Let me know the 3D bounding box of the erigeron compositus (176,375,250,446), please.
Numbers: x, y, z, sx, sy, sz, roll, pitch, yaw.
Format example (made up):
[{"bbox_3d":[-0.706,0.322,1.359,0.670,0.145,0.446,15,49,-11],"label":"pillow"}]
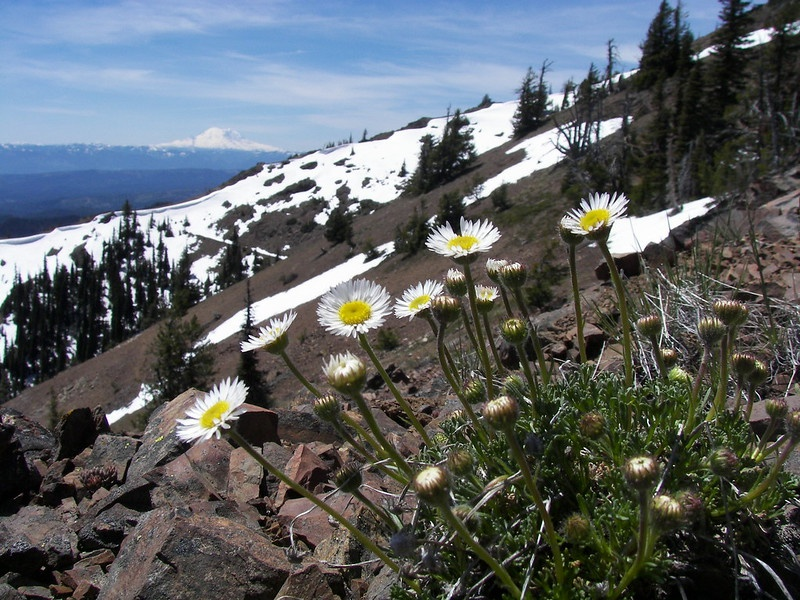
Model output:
[{"bbox_3d":[-1.120,0.719,3.762,0.449,0.196,0.477,-27,12,1],"label":"erigeron compositus"}]

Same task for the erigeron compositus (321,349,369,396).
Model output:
[{"bbox_3d":[-0.325,0.443,3.692,0.215,0.285,0.273,1,-32,-44],"label":"erigeron compositus"}]

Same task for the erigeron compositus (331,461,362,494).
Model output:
[{"bbox_3d":[-0.316,1.062,3.692,0.156,0.177,0.179,-2,-3,-4],"label":"erigeron compositus"}]

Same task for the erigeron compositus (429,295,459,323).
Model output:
[{"bbox_3d":[0.293,0.057,4.013,0.159,0.171,0.172,1,-3,-4],"label":"erigeron compositus"}]

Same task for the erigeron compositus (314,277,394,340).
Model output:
[{"bbox_3d":[-0.310,0.080,4.151,0.518,0.216,0.512,-26,39,-29],"label":"erigeron compositus"}]

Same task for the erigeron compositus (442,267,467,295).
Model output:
[{"bbox_3d":[0.380,-0.126,4.238,0.090,0.195,0.116,-36,37,-29],"label":"erigeron compositus"}]

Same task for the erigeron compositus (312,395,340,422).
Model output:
[{"bbox_3d":[-0.437,0.652,3.742,0.141,0.160,0.151,-1,-9,-7],"label":"erigeron compositus"}]

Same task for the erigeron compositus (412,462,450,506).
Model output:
[{"bbox_3d":[0.175,0.983,3.287,0.202,0.195,0.122,-6,17,-2],"label":"erigeron compositus"}]
